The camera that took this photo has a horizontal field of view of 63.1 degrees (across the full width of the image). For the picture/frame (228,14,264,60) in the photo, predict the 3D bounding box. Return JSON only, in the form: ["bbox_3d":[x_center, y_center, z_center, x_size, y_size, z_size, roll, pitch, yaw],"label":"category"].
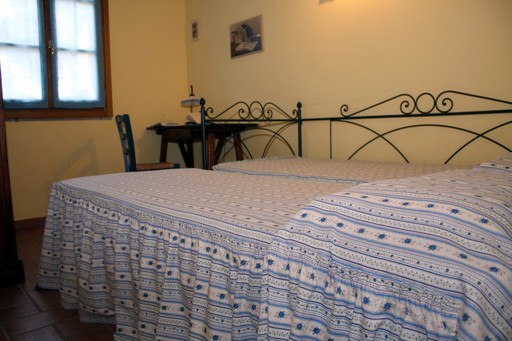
[{"bbox_3d":[-0.095,-1.368,4.260,0.506,0.396,0.054,9,16,43],"label":"picture/frame"}]

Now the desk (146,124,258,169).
[{"bbox_3d":[-0.620,-0.137,4.432,0.955,0.682,0.558,-3,2,36],"label":"desk"}]

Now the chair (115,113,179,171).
[{"bbox_3d":[-1.012,-0.085,3.928,0.572,0.819,0.443,1,2,-21],"label":"chair"}]
